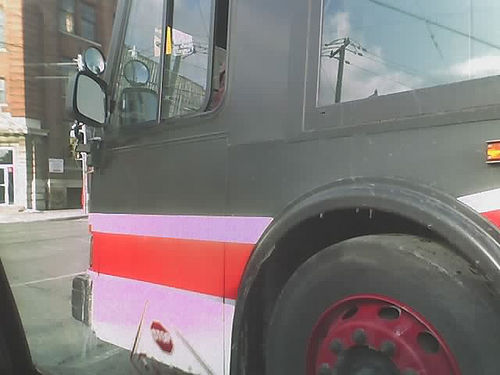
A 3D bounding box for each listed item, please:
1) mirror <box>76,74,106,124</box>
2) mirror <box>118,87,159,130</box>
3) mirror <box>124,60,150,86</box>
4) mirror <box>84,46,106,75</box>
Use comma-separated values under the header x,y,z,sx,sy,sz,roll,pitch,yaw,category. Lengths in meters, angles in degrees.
x,y,z,sx,sy,sz,roll,pitch,yaw,category
-1.159,-0.640,3.287,0.044,0.375,0.305,-2,-7,20,mirror
-0.797,-0.575,3.328,0.312,0.345,0.078,6,0,38,mirror
-0.822,-0.844,3.308,0.310,0.210,0.032,-8,-7,43,mirror
-1.168,-0.956,3.414,0.180,0.035,0.241,10,-47,1,mirror
